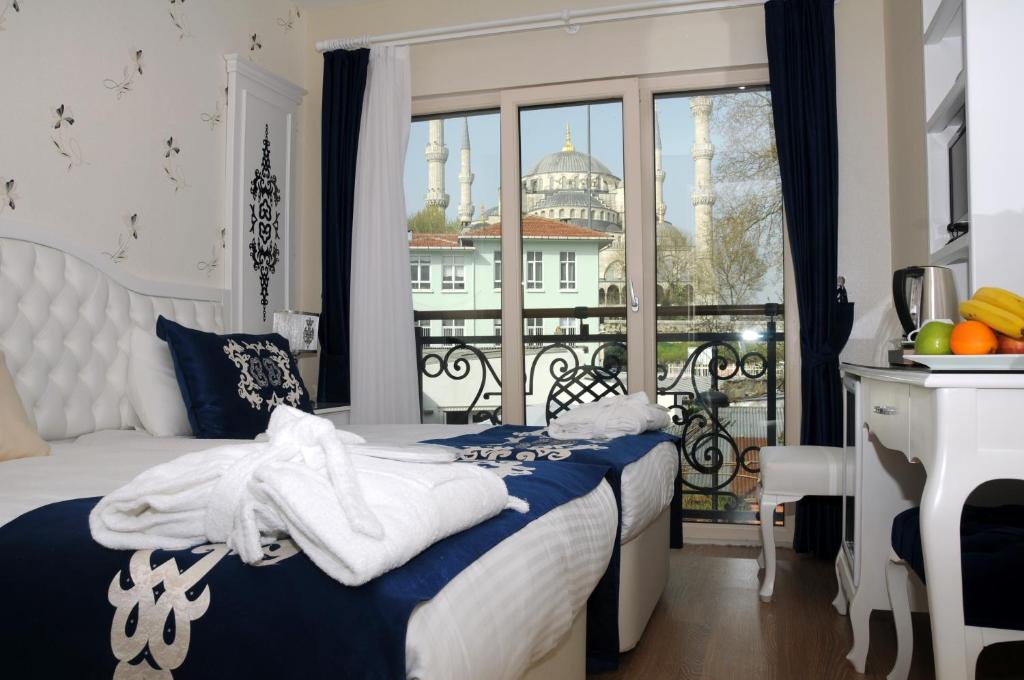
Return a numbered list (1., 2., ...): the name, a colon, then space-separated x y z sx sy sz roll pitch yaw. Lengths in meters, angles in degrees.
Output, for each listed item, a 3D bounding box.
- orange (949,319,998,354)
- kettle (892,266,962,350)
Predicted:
1. orange: 1.544 -0.001 2.589 0.108 0.123 0.115 -6 -7 28
2. kettle: 1.641 -0.143 3.054 0.291 0.336 0.242 -1 1 -15
